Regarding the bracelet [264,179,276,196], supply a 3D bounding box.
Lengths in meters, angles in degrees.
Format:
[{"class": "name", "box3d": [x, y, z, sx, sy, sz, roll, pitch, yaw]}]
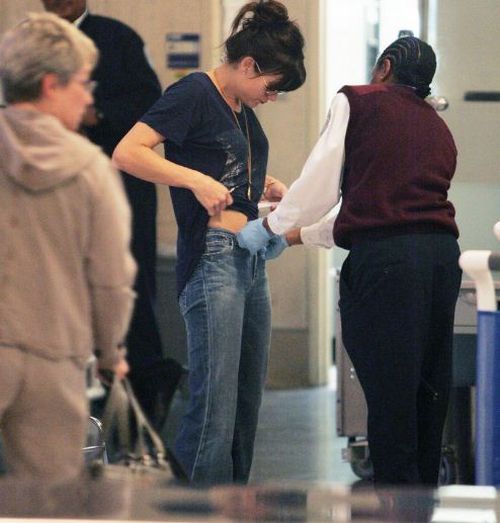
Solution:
[{"class": "bracelet", "box3d": [0.042, -0.173, 3.158, 0.028, 0.030, 0.026, 11, 9, 39]}]

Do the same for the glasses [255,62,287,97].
[{"class": "glasses", "box3d": [0.035, -0.397, 2.989, 0.021, 0.067, 0.067, -28, -5, 11]}]

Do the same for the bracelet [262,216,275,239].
[{"class": "bracelet", "box3d": [0.035, -0.074, 2.982, 0.022, 0.039, 0.031, -16, -35, 6]}]

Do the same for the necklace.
[{"class": "necklace", "box3d": [-0.037, -0.271, 3.037, 0.078, 0.235, 0.011, 20, -39, -37]}]

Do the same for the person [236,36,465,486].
[{"class": "person", "box3d": [0.231, 0.057, 2.981, 0.455, 0.884, 0.165, 1, 2, 4]}]

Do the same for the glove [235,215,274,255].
[{"class": "glove", "box3d": [0.012, -0.057, 2.983, 0.080, 0.077, 0.028, 37, 10, -11]}]
